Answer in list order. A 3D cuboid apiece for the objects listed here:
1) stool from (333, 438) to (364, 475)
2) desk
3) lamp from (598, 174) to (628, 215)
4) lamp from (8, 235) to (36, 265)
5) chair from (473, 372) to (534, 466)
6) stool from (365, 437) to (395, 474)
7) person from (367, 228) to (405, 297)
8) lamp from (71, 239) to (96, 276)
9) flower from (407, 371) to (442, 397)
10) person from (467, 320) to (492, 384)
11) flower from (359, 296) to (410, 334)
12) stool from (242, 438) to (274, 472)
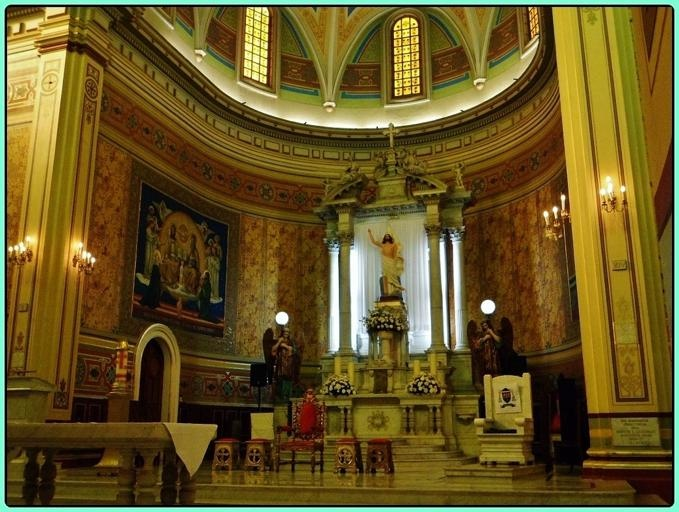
[{"bbox_3d":[0.124,3.272,8.881,0.500,0.643,0.523,-3,-13,10],"label":"stool"},{"bbox_3d":[-2.403,2.313,5.995,1.984,0.896,1.802,-2,-18,3],"label":"desk"},{"bbox_3d":[3.942,-0.912,7.816,0.382,0.562,0.183,-8,-18,21],"label":"lamp"},{"bbox_3d":[-5.707,-0.086,9.725,0.417,0.612,0.312,-1,-23,-2],"label":"lamp"},{"bbox_3d":[2.553,2.516,8.427,0.846,1.388,0.921,-7,-18,19],"label":"chair"},{"bbox_3d":[0.668,3.252,8.845,0.496,0.613,0.519,-2,-14,10],"label":"stool"},{"bbox_3d":[1.161,0.187,13.678,0.832,1.971,0.736,-2,-17,3],"label":"person"},{"bbox_3d":[-4.830,-0.013,10.193,0.366,0.631,0.361,-15,-22,39],"label":"lamp"},{"bbox_3d":[1.647,2.528,10.602,0.676,0.453,0.359,-2,-17,4],"label":"flower"},{"bbox_3d":[3.267,2.214,12.575,0.425,1.610,1.120,-4,-17,9],"label":"person"},{"bbox_3d":[1.008,1.346,12.398,0.845,0.641,0.887,-4,-17,15],"label":"flower"},{"bbox_3d":[-1.366,3.440,9.382,0.490,0.646,0.511,-2,-6,22],"label":"stool"}]
